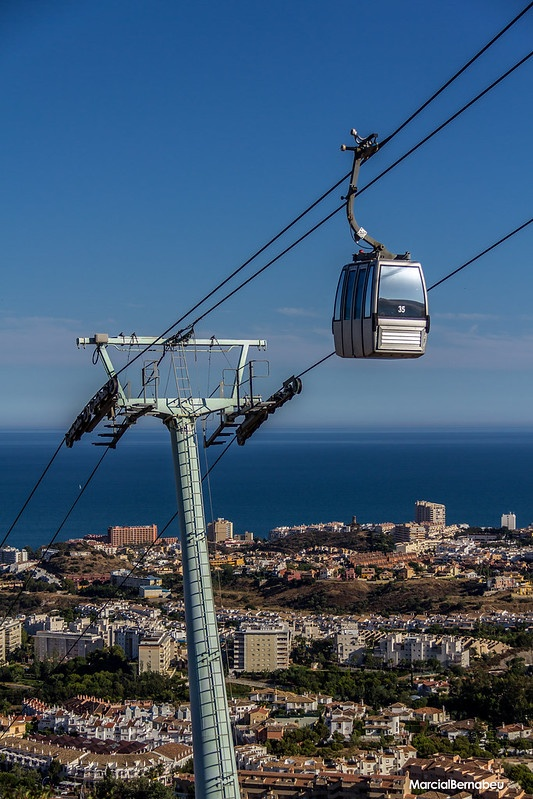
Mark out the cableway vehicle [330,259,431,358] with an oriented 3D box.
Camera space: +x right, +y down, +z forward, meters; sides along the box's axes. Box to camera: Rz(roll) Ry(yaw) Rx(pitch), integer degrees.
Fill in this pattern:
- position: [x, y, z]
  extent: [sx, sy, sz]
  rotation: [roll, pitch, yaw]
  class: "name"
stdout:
- position: [1.904, -1.866, 30.564]
  extent: [1.536, 2.108, 1.838]
  rotation: [-2, 4, -37]
  class: "cableway vehicle"
